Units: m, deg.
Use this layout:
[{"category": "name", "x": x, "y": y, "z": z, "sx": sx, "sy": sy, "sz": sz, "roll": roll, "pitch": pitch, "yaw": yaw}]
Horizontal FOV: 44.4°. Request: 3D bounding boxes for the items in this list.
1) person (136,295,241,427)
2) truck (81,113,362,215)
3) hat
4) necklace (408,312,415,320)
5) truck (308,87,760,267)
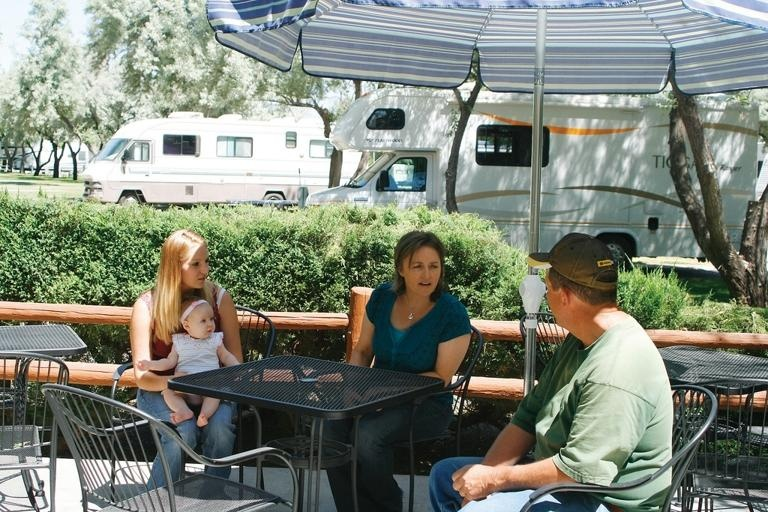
[{"category": "person", "x": -1.387, "y": 0.759, "z": 6.942, "sx": 0.702, "sy": 0.900, "sz": 0.698, "roll": 1, "pitch": 5, "yaw": -31}, {"category": "truck", "x": -4.452, "y": -2.558, "z": 22.816, "sx": 7.568, "sy": 3.230, "sz": 2.673, "roll": 0, "pitch": 2, "yaw": -27}, {"category": "hat", "x": 1.264, "y": 0.020, "z": 6.250, "sx": 0.604, "sy": 0.375, "sz": 0.446, "roll": 12, "pitch": 6, "yaw": 34}, {"category": "necklace", "x": 0.211, "y": 0.474, "z": 7.223, "sx": 0.035, "sy": 0.058, "sz": 0.020, "roll": -2, "pitch": -13, "yaw": 23}, {"category": "truck", "x": 3.413, "y": -1.422, "z": 17.829, "sx": 9.339, "sy": 4.718, "sz": 3.111, "roll": 2, "pitch": 4, "yaw": -2}]
